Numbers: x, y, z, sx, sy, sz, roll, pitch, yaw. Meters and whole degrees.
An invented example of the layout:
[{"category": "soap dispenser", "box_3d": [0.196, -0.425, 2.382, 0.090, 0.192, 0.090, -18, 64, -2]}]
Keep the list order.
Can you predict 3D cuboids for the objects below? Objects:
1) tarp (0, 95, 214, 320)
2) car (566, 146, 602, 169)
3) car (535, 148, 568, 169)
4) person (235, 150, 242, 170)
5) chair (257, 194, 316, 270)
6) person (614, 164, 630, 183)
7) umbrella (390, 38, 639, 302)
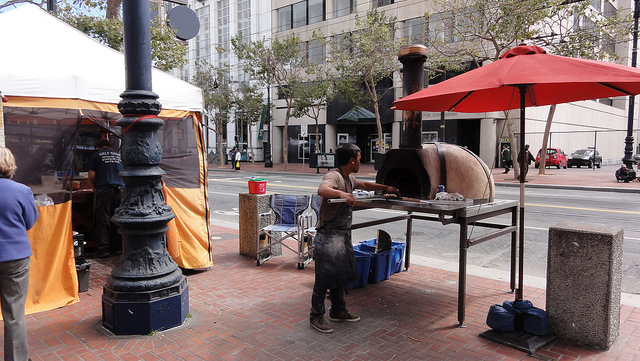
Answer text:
[{"category": "tarp", "box_3d": [-4.526, 0.164, 10.945, 4.842, 3.992, 3.860, -2, 1, -39]}, {"category": "car", "box_3d": [21.207, -1.778, 36.784, 3.382, 1.343, 1.555, 3, -4, -42]}, {"category": "car", "box_3d": [17.275, -1.552, 34.404, 1.702, 1.565, 6.230, 5, 9, 37]}, {"category": "person", "box_3d": [-6.402, -1.580, 35.811, 0.356, 1.515, 0.613, -3, 9, -13]}, {"category": "chair", "box_3d": [-0.648, 1.123, 10.925, 1.698, 2.016, 1.586, 1, -1, 12]}, {"category": "person", "box_3d": [15.286, -0.304, 23.396, 0.608, 0.798, 1.495, 4, 9, 32]}, {"category": "umbrella", "box_3d": [3.556, -0.145, 8.323, 3.471, 4.710, 1.862, 2, 9, 18]}]
